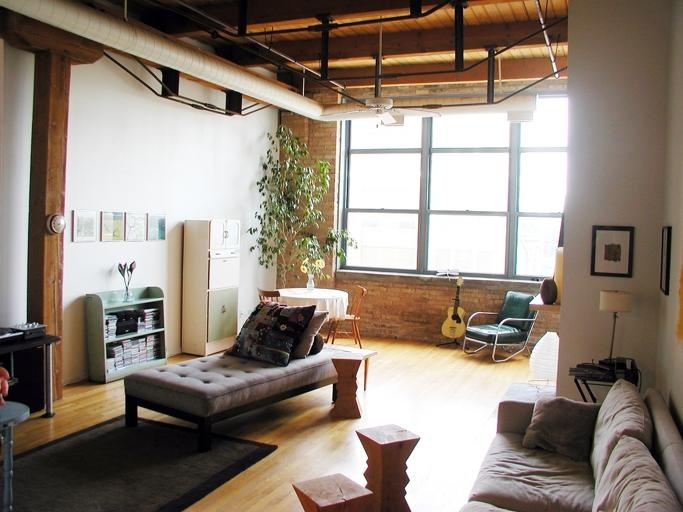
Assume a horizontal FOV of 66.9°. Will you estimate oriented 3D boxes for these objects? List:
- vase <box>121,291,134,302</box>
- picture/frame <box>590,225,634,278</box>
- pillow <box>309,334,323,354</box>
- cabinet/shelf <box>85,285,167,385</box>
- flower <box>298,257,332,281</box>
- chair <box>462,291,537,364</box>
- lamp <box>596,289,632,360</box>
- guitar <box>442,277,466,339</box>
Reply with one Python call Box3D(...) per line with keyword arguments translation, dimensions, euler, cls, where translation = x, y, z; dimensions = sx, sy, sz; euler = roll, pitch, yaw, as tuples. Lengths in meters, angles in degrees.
Box3D(translation=(-2.825, 0.540, 6.853), dimensions=(0.134, 0.124, 0.134), euler=(-3, -6, 39), cls="vase")
Box3D(translation=(2.517, -0.051, 4.775), dimensions=(0.493, 0.647, 0.067), euler=(1, 5, 15), cls="picture/frame")
Box3D(translation=(-0.283, 1.024, 5.951), dimensions=(0.070, 0.198, 0.207), euler=(2, 21, 15), cls="pillow")
Box3D(translation=(-2.757, 1.018, 6.504), dimensions=(0.353, 1.183, 1.209), euler=(-1, 1, 28), cls="cabinet/shelf")
Box3D(translation=(-0.452, 0.235, 9.313), dimensions=(0.419, 0.475, 0.779), euler=(2, 4, 13), cls="flower")
Box3D(translation=(2.583, 1.129, 8.212), dimensions=(1.381, 1.347, 0.917), euler=(-2, 2, -35), cls="chair")
Box3D(translation=(2.476, 0.634, 4.696), dimensions=(0.246, 0.637, 0.302), euler=(3, 5, 27), cls="lamp")
Box3D(translation=(1.926, 0.924, 8.839), dimensions=(0.398, 1.133, 0.374), euler=(2, 4, 11), cls="guitar")
